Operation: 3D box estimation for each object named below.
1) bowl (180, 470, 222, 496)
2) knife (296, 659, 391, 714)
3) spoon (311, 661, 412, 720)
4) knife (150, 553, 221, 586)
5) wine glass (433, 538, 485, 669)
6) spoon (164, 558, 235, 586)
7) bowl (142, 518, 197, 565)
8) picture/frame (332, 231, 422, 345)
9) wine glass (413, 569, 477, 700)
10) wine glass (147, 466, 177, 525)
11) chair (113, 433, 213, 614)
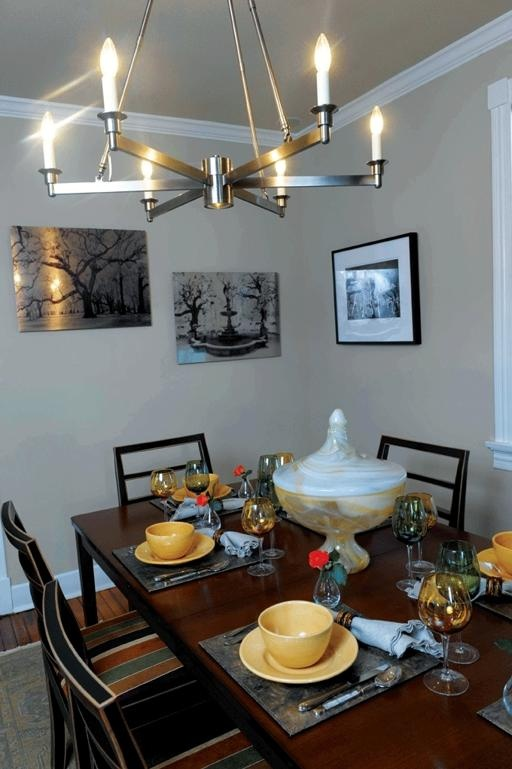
[{"bbox_3d":[-0.180,0.355,1.946,0.116,0.080,0.123,0,-4,0],"label":"bowl"},{"bbox_3d":[0.132,0.442,0.813,0.049,0.022,0.186,3,-2,43],"label":"knife"},{"bbox_3d":[0.162,0.431,0.836,0.048,0.030,0.207,1,4,45],"label":"spoon"},{"bbox_3d":[-0.160,0.448,1.340,0.048,0.015,0.164,8,2,43],"label":"knife"},{"bbox_3d":[0.331,0.387,0.919,0.072,0.168,0.067,-10,11,-5],"label":"wine glass"},{"bbox_3d":[-0.142,0.435,1.345,0.050,0.027,0.187,4,6,36],"label":"spoon"},{"bbox_3d":[-0.225,0.397,1.406,0.100,0.064,0.104,-1,-5,0],"label":"bowl"},{"bbox_3d":[0.646,-0.482,2.978,0.048,0.545,0.629,-7,7,-28],"label":"picture/frame"},{"bbox_3d":[0.305,0.374,0.880,0.071,0.182,0.188,-1,2,19],"label":"wine glass"},{"bbox_3d":[-0.299,0.364,1.767,0.085,0.201,0.080,-2,16,2],"label":"wine glass"},{"bbox_3d":[-0.543,0.495,2.493,0.448,0.846,0.456,-8,6,-33],"label":"chair"}]
